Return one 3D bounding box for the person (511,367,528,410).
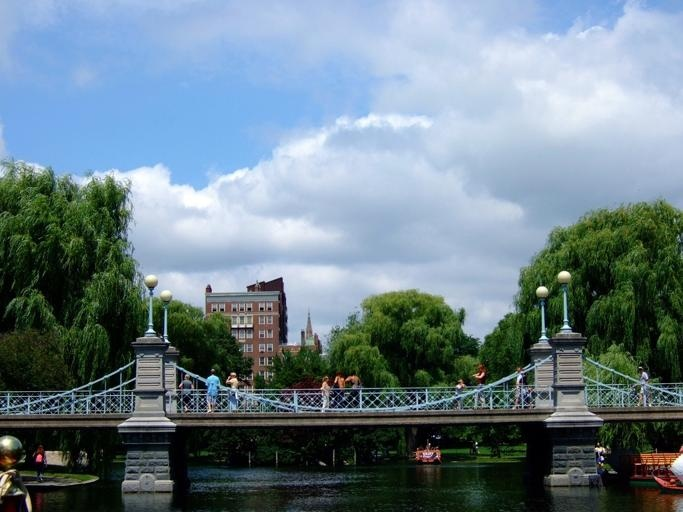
[{"bbox_3d":[7.876,5.761,61.029,0.599,1.702,2.561,-2,-8,8],"label":"person"}]

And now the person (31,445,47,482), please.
[{"bbox_3d":[-13.696,9.240,62.756,0.368,1.573,1.553,1,-8,-15],"label":"person"}]

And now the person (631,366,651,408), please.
[{"bbox_3d":[13.489,5.896,62.548,0.733,2.296,0.881,17,-25,-19],"label":"person"}]
